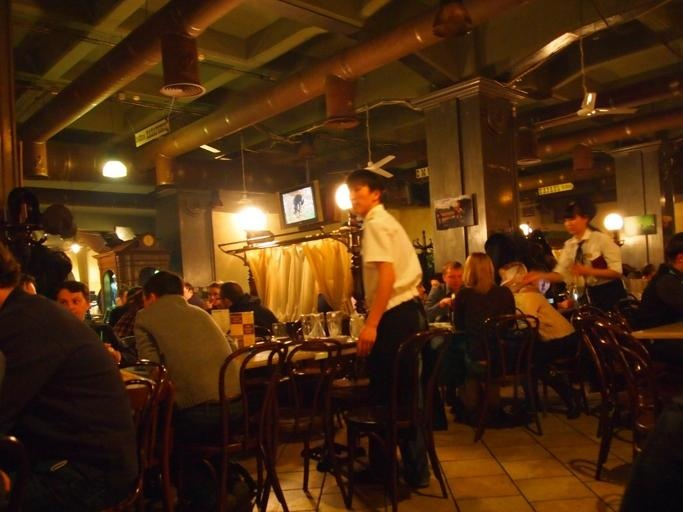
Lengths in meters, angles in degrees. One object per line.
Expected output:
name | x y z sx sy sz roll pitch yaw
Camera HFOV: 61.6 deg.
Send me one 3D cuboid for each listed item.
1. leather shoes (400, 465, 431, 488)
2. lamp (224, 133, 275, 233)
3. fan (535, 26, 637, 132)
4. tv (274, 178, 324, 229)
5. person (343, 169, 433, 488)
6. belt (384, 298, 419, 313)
leather shoes | 0.558 1.646 4.333 0.184 0.129 0.148 -3 -2 10
lamp | -1.759 -1.355 10.875 0.727 1.970 3.621 -5 3 -8
fan | 3.533 -2.545 8.044 0.768 0.798 0.877 -29 28 -24
tv | -0.685 -0.904 10.196 0.239 0.749 1.029 -7 4 -44
person | 0.348 0.199 4.088 0.501 1.675 0.579 -4 3 2
belt | 0.429 0.325 4.043 0.150 0.046 0.131 -9 -10 -30
